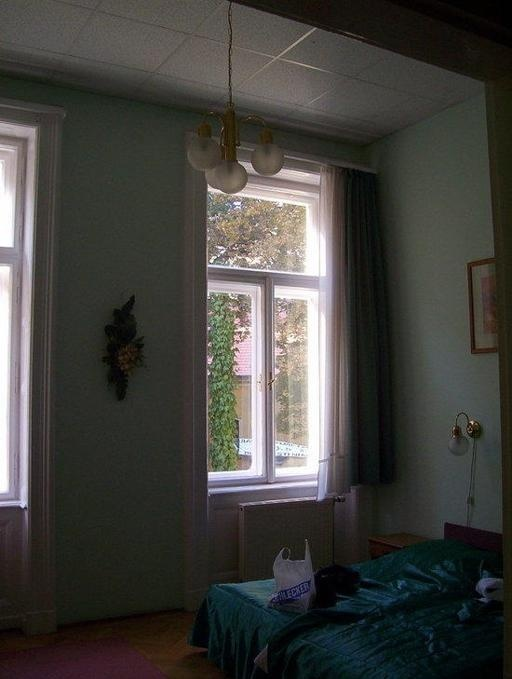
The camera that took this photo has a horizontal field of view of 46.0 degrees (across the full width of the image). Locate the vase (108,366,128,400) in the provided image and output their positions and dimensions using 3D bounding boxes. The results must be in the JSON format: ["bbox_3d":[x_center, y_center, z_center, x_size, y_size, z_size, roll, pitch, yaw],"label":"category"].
[{"bbox_3d":[-0.831,0.259,3.641,0.113,0.184,0.045,-26,24,-29],"label":"vase"}]

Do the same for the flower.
[{"bbox_3d":[-0.793,0.054,3.661,0.257,0.639,0.138,4,-6,-19],"label":"flower"}]

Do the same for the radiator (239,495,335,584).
[{"bbox_3d":[0.164,1.274,3.849,0.599,0.599,0.083,4,-11,-26],"label":"radiator"}]
